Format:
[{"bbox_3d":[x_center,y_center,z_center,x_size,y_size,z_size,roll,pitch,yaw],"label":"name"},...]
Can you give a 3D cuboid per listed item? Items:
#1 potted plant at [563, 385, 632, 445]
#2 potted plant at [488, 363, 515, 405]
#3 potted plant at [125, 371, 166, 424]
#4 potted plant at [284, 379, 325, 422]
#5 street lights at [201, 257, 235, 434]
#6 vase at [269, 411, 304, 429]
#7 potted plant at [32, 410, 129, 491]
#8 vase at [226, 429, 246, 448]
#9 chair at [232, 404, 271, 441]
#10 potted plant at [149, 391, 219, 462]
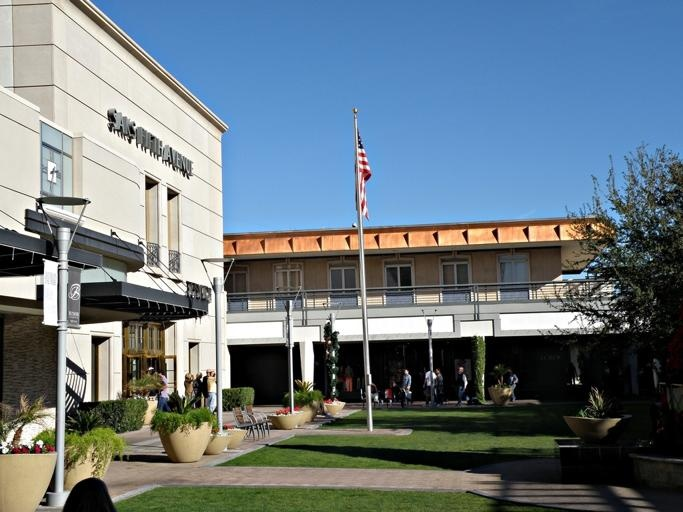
[{"bbox_3d":[5.829,3.643,17.248,1.351,1.155,1.215,-6,-9,32],"label":"potted plant"},{"bbox_3d":[7.652,6.175,35.841,1.106,1.836,1.173,-3,-7,34],"label":"potted plant"},{"bbox_3d":[-7.423,5.068,28.617,1.738,2.481,2.125,0,0,-8],"label":"potted plant"},{"bbox_3d":[-1.312,5.616,29.248,1.455,1.625,1.440,7,-11,-41],"label":"potted plant"},{"bbox_3d":[-3.375,3.018,21.193,0.908,5.729,0.946,-1,2,-11],"label":"street lights"},{"bbox_3d":[-1.787,5.615,25.548,0.718,0.358,0.702,9,-13,-44],"label":"vase"},{"bbox_3d":[-5.120,4.063,15.687,1.591,1.349,1.742,4,-12,-13],"label":"potted plant"},{"bbox_3d":[-2.834,4.936,20.275,0.454,0.378,0.490,1,-2,23],"label":"vase"},{"bbox_3d":[-2.714,5.245,23.575,0.892,1.036,2.834,-3,-16,-4],"label":"chair"},{"bbox_3d":[-3.927,4.192,18.752,1.433,1.685,1.461,-2,-5,18],"label":"potted plant"}]
